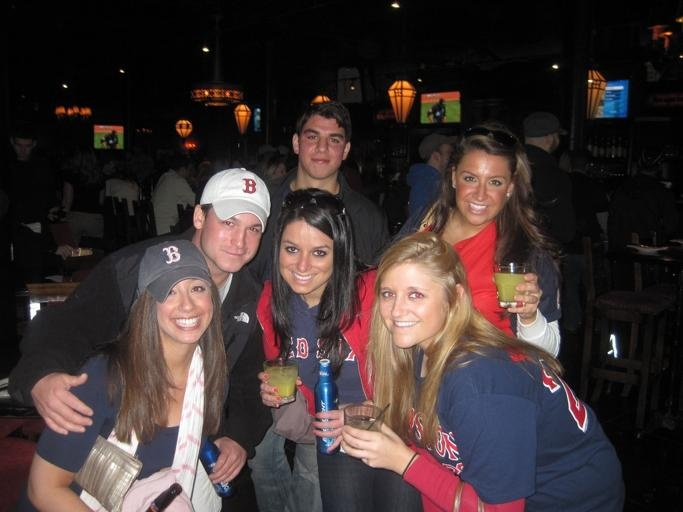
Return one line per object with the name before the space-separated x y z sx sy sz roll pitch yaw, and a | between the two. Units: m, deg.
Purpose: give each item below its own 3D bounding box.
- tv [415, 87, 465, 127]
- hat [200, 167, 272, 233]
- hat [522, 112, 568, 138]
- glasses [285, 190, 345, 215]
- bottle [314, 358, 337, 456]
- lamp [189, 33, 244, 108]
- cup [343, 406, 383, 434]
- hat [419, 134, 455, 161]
tv | 2.655 -3.929 13.374 1.212 0.870 0.128 17 13 26
hat | -0.699 -0.393 3.206 0.335 0.265 0.440 17 9 -37
hat | 2.248 -1.451 5.568 0.376 0.195 0.275 -14 25 -24
glasses | -0.173 -0.335 3.107 0.388 0.162 0.183 1 2 -1
bottle | -0.086 0.827 2.780 0.119 0.529 0.093 1 3 -1
lamp | -3.194 -4.802 13.478 1.752 1.867 1.687 -11 26 -28
cup | 0.106 0.799 2.521 0.147 0.105 0.117 1 5 7
hat | 1.179 -1.404 6.201 0.444 0.229 0.310 -35 6 0
